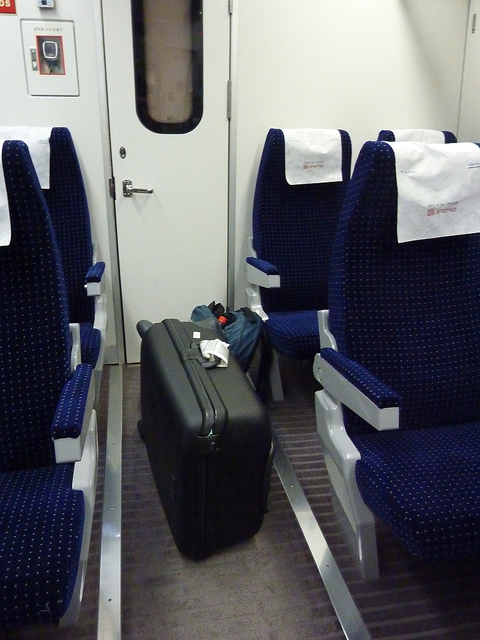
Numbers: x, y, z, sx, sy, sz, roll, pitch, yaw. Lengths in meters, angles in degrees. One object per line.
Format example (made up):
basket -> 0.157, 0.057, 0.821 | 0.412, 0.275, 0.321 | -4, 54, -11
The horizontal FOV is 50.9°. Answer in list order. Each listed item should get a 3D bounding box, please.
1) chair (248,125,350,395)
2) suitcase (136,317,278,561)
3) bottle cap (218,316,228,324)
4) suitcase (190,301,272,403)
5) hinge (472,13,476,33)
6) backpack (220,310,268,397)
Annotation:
chair -> 0.321, -0.284, 2.270 | 0.514, 1.214, 0.566 | -5, 11, -27
suitcase -> -0.136, 0.314, 1.522 | 0.233, 0.540, 0.511 | -10, 35, -27
bottle cap -> -0.079, -0.001, 2.315 | 0.027, 0.030, 0.043 | 18, 1, -40
suitcase -> -0.069, 0.041, 2.454 | 0.287, 0.698, 0.502 | -3, 48, -11
hinge -> 1.187, -1.495, 2.548 | 0.007, 0.086, 0.022 | -8, 13, -36
backpack -> 0.066, 0.186, 2.263 | 0.164, 0.429, 0.255 | 2, -9, 10
